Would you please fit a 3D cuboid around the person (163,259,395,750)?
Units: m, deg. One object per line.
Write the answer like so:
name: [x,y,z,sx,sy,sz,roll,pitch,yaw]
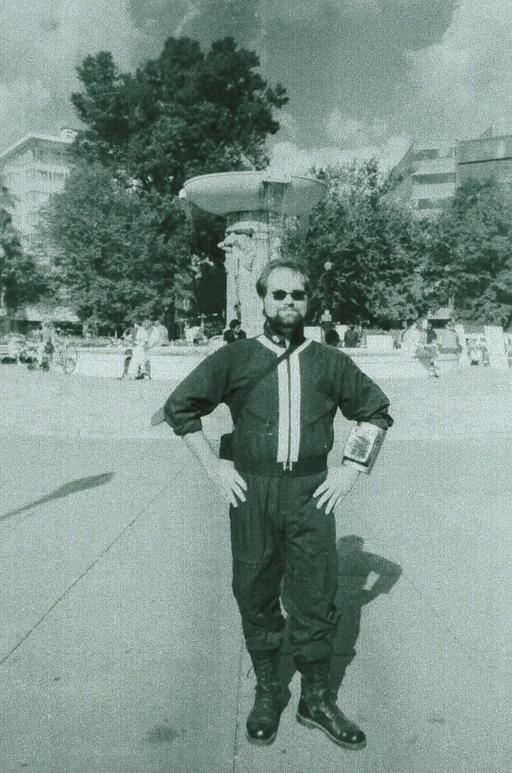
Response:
person: [0.085,0.407,2.483,0.736,1.667,0.247,1,5,11]
